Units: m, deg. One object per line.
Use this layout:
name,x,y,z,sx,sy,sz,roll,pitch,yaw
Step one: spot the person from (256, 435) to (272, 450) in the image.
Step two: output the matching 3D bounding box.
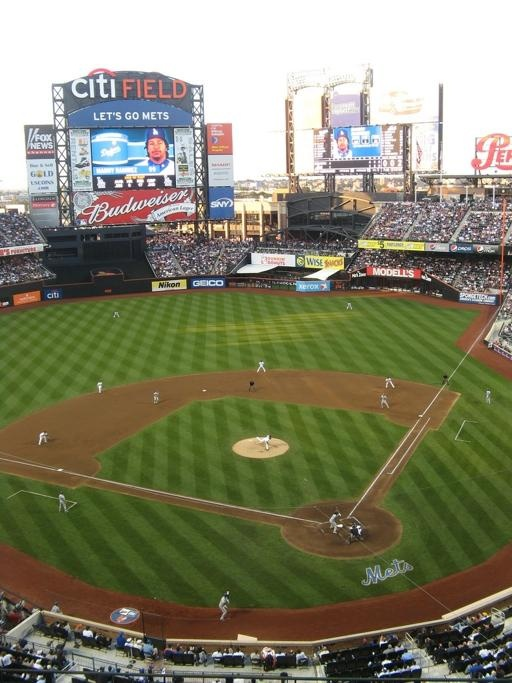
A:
person,0.396,4.639,30.499,0.542,0.197,0.783,2,31,-4

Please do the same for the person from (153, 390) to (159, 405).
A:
person,-5.520,3.190,37.179,0.394,0.734,0.316,-6,28,-19

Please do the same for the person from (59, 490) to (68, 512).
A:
person,-7.452,6.066,25.776,0.334,0.686,1.127,-9,12,-18
